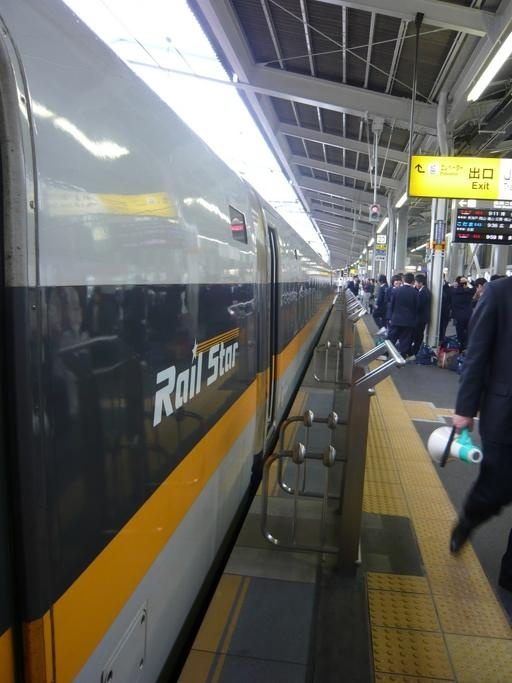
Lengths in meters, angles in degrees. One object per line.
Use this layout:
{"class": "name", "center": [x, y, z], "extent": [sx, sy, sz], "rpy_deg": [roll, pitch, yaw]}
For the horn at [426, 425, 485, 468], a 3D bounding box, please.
{"class": "horn", "center": [1.111, 0.582, 2.401], "extent": [0.170, 0.275, 0.272], "rpy_deg": [8, 1, -11]}
